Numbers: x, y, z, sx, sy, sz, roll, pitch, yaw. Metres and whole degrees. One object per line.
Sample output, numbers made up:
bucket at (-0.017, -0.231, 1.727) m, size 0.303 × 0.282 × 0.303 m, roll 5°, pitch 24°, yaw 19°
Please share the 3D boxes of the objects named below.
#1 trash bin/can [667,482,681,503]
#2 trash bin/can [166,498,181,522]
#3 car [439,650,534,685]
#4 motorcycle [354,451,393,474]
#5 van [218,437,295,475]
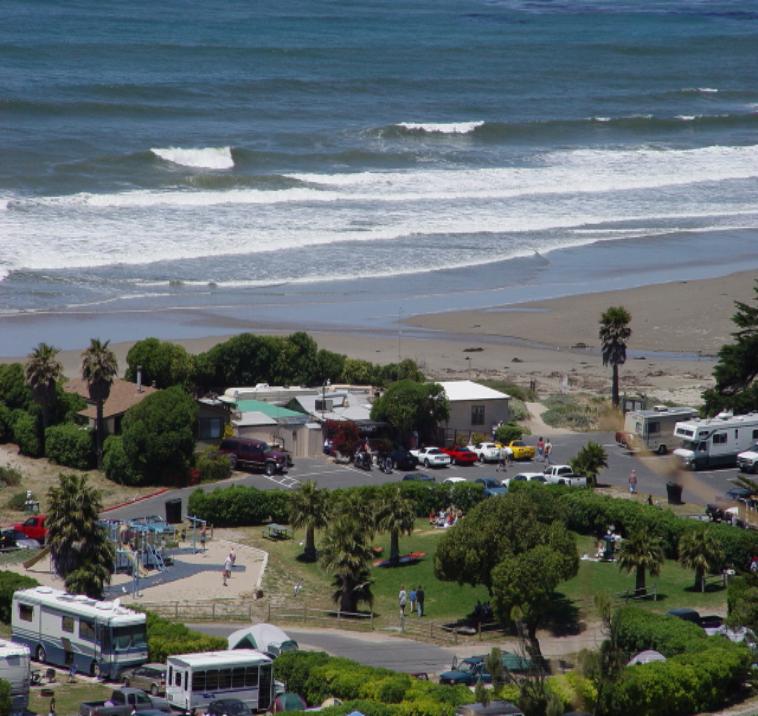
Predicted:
trash bin/can at (20.120, 9.189, 152.369) m, size 1.037 × 1.344 × 1.200 m, roll -1°, pitch 1°, yaw 11°
trash bin/can at (-13.888, 10.202, 149.756) m, size 1.047 × 1.600 × 1.339 m, roll -1°, pitch 1°, yaw -6°
car at (6.072, 17.962, 129.744) m, size 4.152 × 1.255 × 2.399 m, roll -5°, pitch 5°, yaw -17°
motorcycle at (-0.510, 7.249, 159.255) m, size 2.761 × 1.471 × 1.500 m, roll -1°, pitch 1°, yaw 7°
van at (-8.640, 6.804, 158.730) m, size 4.190 × 1.990 × 2.324 m, roll 3°, pitch 11°, yaw 18°
